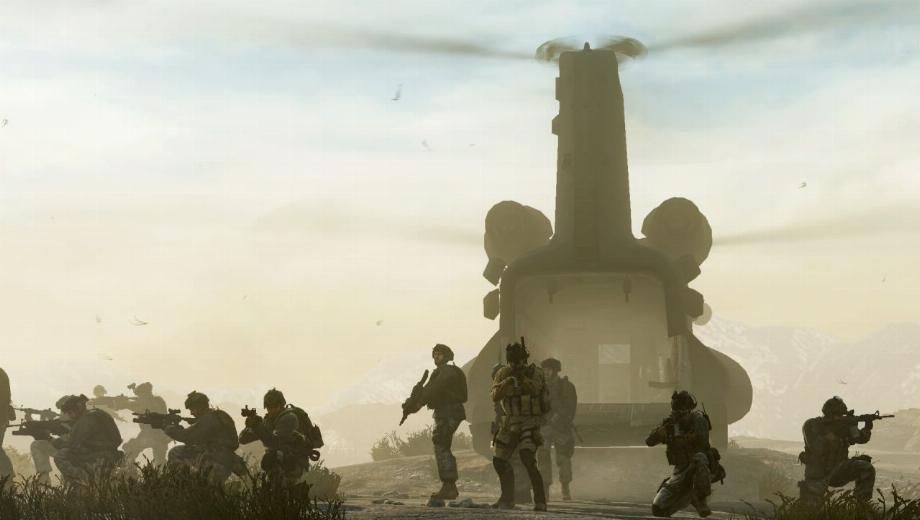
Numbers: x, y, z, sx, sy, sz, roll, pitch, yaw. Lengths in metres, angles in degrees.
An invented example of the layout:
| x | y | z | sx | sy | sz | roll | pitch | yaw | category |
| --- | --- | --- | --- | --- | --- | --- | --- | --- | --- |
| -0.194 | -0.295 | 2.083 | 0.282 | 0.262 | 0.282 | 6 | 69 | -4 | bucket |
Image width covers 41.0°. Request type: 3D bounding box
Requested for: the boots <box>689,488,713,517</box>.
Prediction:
| x | y | z | sx | sy | sz | roll | pitch | yaw | category |
| --- | --- | --- | --- | --- | --- | --- | --- | --- | --- |
| 6.595 | 6.673 | 33.929 | 0.378 | 0.939 | 0.697 | -3 | 31 | 10 | boots |

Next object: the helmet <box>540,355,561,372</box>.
| x | y | z | sx | sy | sz | roll | pitch | yaw | category |
| --- | --- | --- | --- | --- | --- | --- | --- | --- | --- |
| 2.971 | 3.431 | 40.751 | 0.670 | 0.344 | 0.571 | 0 | -14 | 0 | helmet |

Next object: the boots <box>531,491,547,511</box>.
| x | y | z | sx | sy | sz | roll | pitch | yaw | category |
| --- | --- | --- | --- | --- | --- | --- | --- | --- | --- |
| 2.279 | 6.897 | 35.284 | 0.383 | 0.538 | 0.791 | -3 | 8 | 3 | boots |
